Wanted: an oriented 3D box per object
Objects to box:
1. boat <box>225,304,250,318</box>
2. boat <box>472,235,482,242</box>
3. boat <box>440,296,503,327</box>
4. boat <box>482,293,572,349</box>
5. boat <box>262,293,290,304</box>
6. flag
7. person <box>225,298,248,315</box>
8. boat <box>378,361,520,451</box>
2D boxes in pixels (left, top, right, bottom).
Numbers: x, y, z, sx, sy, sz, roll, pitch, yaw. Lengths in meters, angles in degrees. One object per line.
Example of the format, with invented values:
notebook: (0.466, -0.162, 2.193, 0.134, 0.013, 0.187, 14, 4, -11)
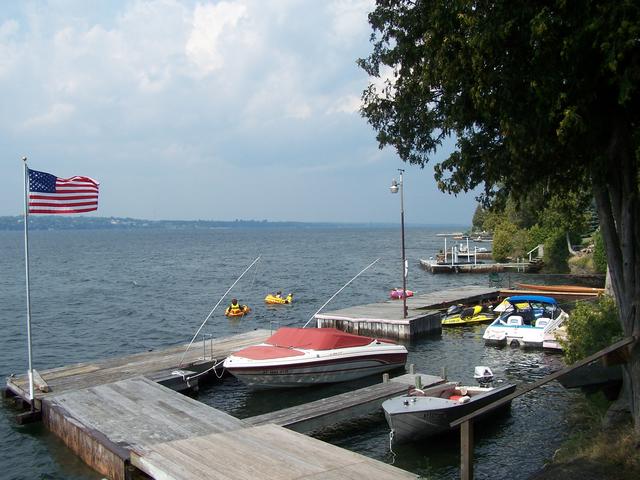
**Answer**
boat: (-5.921, 5.069, 46.060, 1.541, 0.865, 2.001, -3, -1, 1)
boat: (41.524, -0.240, 170.968, 2.231, 1.819, 26.212, -4, -1, 13)
boat: (9.100, 4.661, 39.633, 3.248, 0.962, 1.649, -2, 0, -35)
boat: (10.716, 4.280, 33.488, 3.494, 2.757, 3.346, -4, -1, 29)
boat: (-3.231, 4.775, 50.807, 1.663, 0.535, 1.142, 3, 0, 14)
flag: (-9.110, -1.571, 22.394, 3.085, 2.013, 0.405, 1, -6, -38)
person: (-5.975, 4.884, 46.345, 1.096, 0.644, 1.620, -1, 1, -8)
boat: (4.391, 5.762, 22.533, 4.535, 1.445, 2.092, -7, 4, -40)
